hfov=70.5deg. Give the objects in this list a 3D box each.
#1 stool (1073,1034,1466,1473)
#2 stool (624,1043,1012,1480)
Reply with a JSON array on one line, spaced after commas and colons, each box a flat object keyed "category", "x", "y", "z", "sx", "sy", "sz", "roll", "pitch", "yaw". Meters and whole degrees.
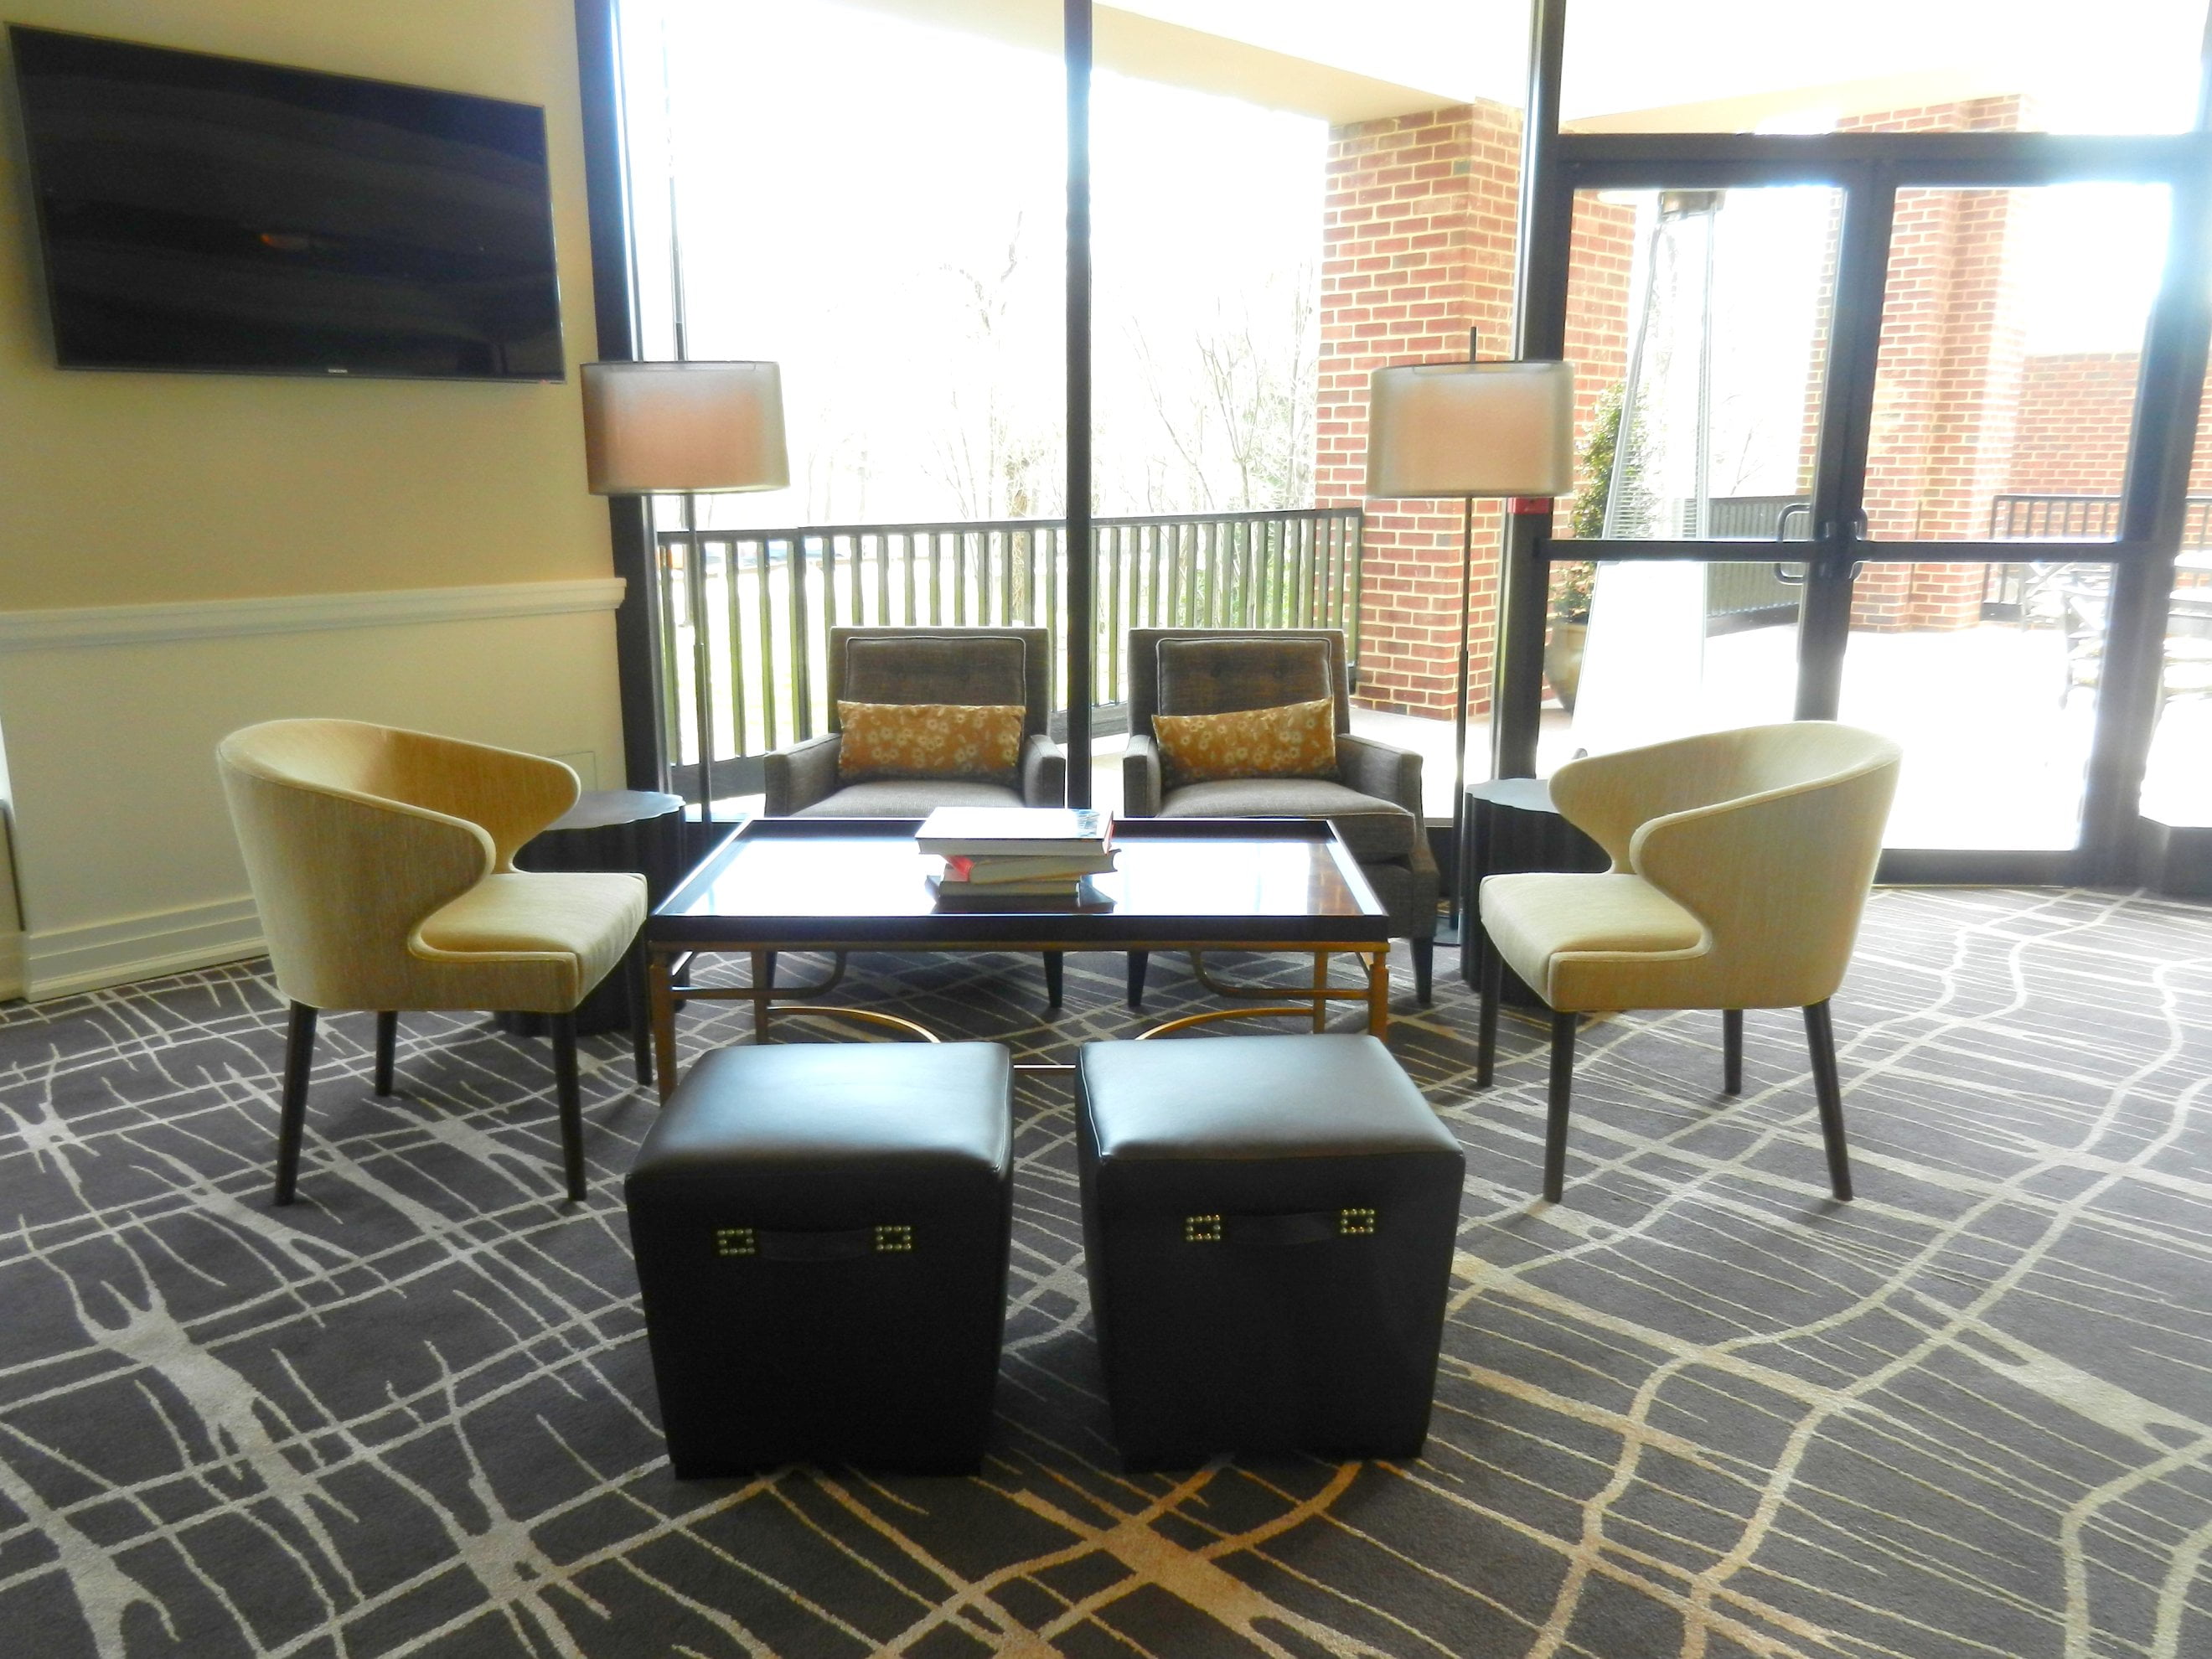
[{"category": "stool", "x": 0.247, "y": 0.711, "z": 2.859, "sx": 0.714, "sy": 0.615, "sz": 0.661, "roll": -1, "pitch": 4, "yaw": -3}, {"category": "stool", "x": -0.465, "y": 0.721, "z": 2.840, "sx": 0.717, "sy": 0.532, "sz": 0.659, "roll": 0, "pitch": 4, "yaw": -3}]
